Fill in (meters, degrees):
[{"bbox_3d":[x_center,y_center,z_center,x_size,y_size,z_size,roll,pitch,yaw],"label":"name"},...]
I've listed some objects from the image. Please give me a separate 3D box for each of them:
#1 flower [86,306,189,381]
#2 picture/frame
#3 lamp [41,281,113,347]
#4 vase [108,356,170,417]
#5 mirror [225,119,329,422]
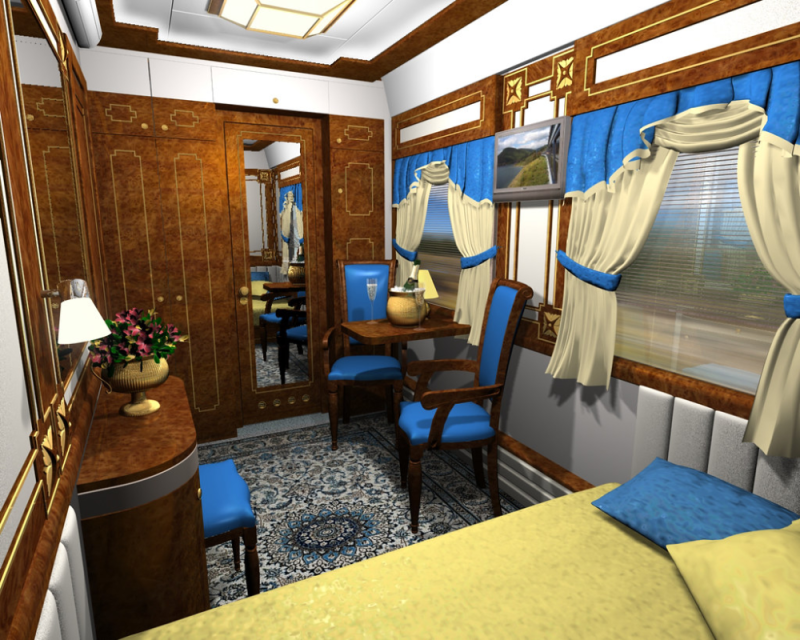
[{"bbox_3d":[-1.242,0.094,2.411,0.431,0.255,0.356,4,11,2],"label":"flower"},{"bbox_3d":[0.836,-0.997,3.165,0.078,0.442,0.682,-8,15,-25],"label":"picture/frame"},{"bbox_3d":[-1.181,-0.038,1.815,0.245,0.212,0.179,-13,10,8],"label":"lamp"},{"bbox_3d":[-1.213,0.285,2.334,0.285,0.259,0.271,1,1,29],"label":"vase"},{"bbox_3d":[-1.071,-0.446,4.550,1.015,2.712,0.491,-7,17,-16],"label":"mirror"}]
